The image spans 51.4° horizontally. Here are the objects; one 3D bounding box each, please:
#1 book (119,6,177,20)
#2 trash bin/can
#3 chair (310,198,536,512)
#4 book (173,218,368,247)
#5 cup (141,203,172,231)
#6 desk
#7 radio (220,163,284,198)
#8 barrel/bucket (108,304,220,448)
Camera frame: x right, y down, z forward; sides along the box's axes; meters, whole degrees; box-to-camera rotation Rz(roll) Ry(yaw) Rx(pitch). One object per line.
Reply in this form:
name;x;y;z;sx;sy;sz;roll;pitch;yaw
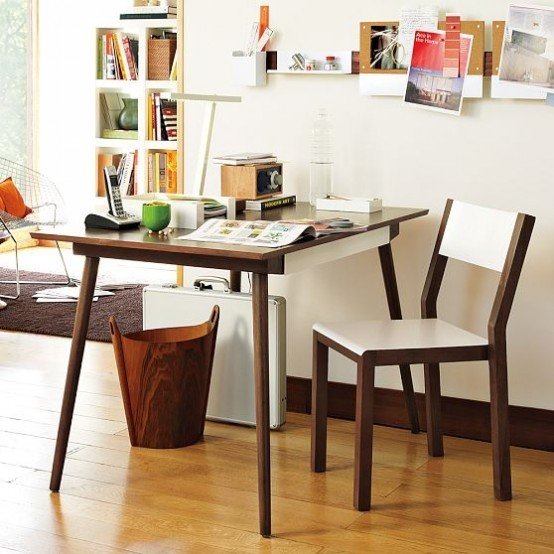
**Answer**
book;-1.085;-2.208;4.831;0.472;0.106;0.106;2;4;11
trash bin/can;-0.366;0.338;1.922;0.358;0.419;0.255;-3;2;-31
chair;0.382;0.187;1.649;0.542;0.793;0.476;-1;5;-2
book;-0.016;-0.112;1.453;0.374;0.075;0.393;3;4;26
cup;-0.307;-0.154;1.457;0.071;0.075;0.070;0;0;0
desk;-0.071;-0.021;1.668;0.838;0.869;1.176;2;5;28
radio;-0.081;-0.350;2.065;0.142;0.119;0.232;8;17;24
barrel/bucket;-0.361;0.340;1.916;0.408;0.481;0.281;-3;5;-31
